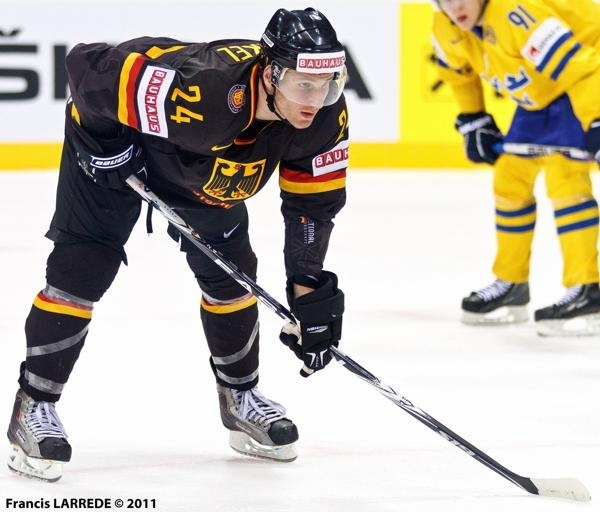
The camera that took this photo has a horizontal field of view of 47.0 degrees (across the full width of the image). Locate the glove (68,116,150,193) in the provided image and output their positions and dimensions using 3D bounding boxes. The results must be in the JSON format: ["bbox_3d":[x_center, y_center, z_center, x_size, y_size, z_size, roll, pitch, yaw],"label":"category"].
[{"bbox_3d":[-0.524,-0.245,1.869,0.218,0.155,0.147,-15,31,-22],"label":"glove"}]

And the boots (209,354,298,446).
[{"bbox_3d":[-0.131,0.446,2.061,0.126,0.212,0.358,-22,16,-31],"label":"boots"}]

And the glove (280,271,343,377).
[{"bbox_3d":[0.012,0.184,1.931,0.209,0.267,0.113,-3,22,-27],"label":"glove"}]

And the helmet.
[{"bbox_3d":[0.008,-0.483,1.679,0.203,0.257,0.183,0,12,-2],"label":"helmet"}]

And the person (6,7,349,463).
[{"bbox_3d":[-0.329,-0.044,1.845,0.900,1.180,0.496,1,13,3],"label":"person"}]
